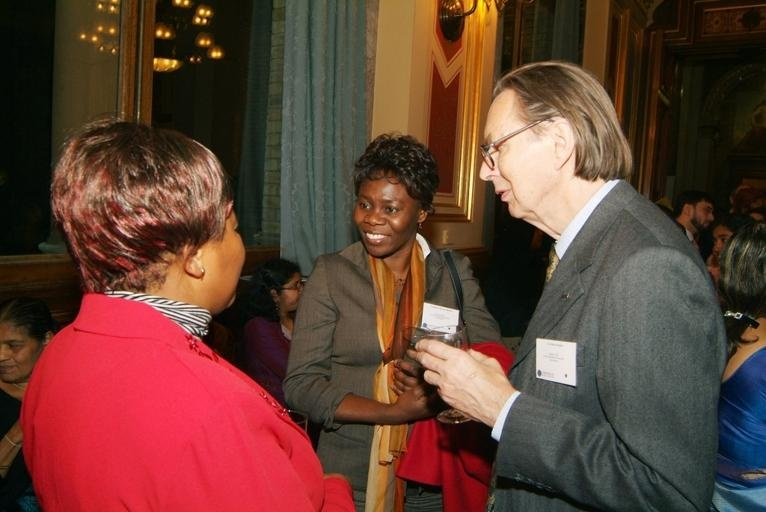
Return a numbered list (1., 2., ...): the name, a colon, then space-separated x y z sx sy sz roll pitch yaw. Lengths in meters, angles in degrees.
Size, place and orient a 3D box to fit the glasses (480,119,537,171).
1. glasses: 0.411 -0.362 1.927 0.134 0.044 0.133 -30 2 5
